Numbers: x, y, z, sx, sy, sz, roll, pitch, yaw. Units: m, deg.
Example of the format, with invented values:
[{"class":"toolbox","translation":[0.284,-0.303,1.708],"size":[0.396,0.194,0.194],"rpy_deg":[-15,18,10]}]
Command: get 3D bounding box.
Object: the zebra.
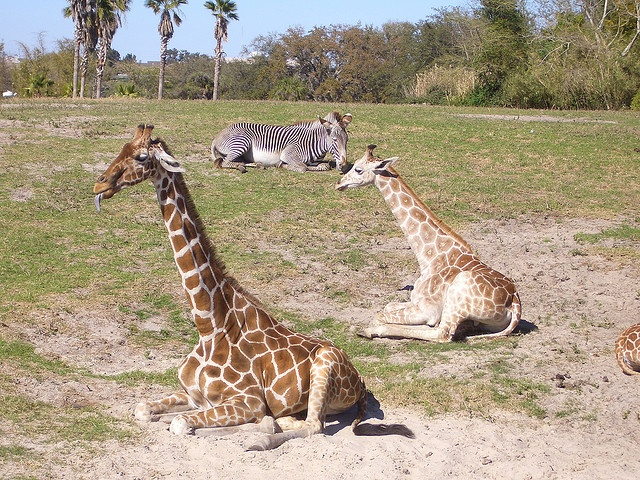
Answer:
[{"class":"zebra","translation":[-1.016,-2.723,22.250],"size":[4.501,2.326,1.523],"rpy_deg":[1,-1,-6]}]
